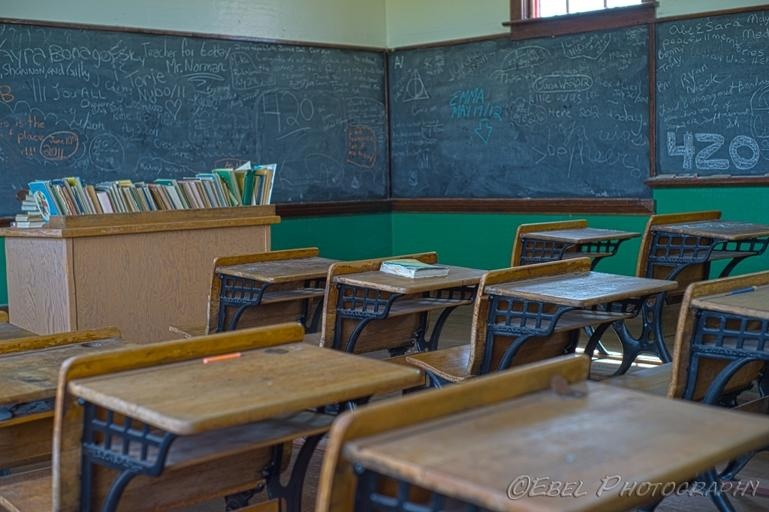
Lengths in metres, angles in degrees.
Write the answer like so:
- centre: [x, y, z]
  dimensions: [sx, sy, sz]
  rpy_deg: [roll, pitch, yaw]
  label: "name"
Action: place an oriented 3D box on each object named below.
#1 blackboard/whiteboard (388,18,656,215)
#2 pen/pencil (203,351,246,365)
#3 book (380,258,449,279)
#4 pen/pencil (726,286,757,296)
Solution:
- centre: [1.212, -1.390, 5.920]
  dimensions: [0.045, 1.557, 3.096]
  rpy_deg: [-18, 20, -42]
  label: "blackboard/whiteboard"
- centre: [-0.379, 0.240, 1.347]
  dimensions: [0.107, 0.017, 0.023]
  rpy_deg: [-4, 8, -33]
  label: "pen/pencil"
- centre: [0.130, 0.058, 2.744]
  dimensions: [0.262, 0.084, 0.276]
  rpy_deg: [-7, 6, -44]
  label: "book"
- centre: [1.163, 0.117, 1.898]
  dimensions: [0.167, 0.019, 0.018]
  rpy_deg: [-7, -6, -40]
  label: "pen/pencil"
